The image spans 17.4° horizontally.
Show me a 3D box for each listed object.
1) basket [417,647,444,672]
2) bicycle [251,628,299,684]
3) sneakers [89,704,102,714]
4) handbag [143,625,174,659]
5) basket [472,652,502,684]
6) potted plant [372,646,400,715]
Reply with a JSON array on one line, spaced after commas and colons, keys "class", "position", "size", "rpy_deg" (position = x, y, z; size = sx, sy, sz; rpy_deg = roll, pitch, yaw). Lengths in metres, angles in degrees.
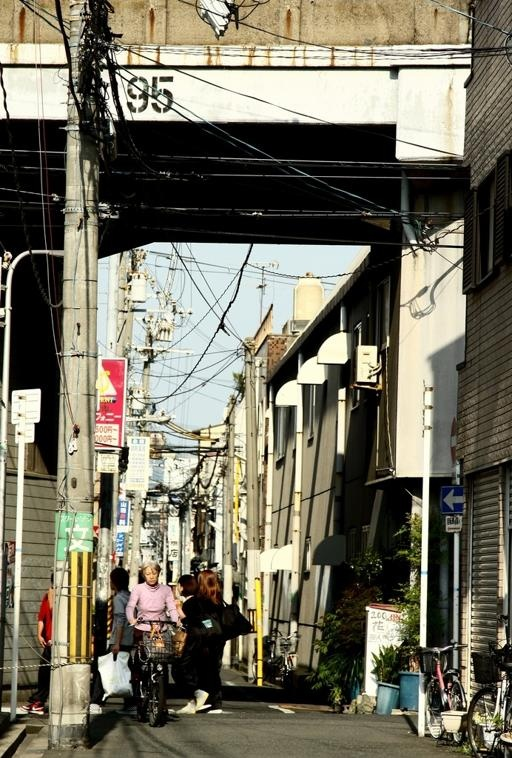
[{"class": "basket", "position": [2.043, 3.234, 19.209], "size": [0.271, 0.324, 0.256], "rpy_deg": [4, -17, -14]}, {"class": "bicycle", "position": [0.756, 6.370, 38.286], "size": [0.776, 1.247, 1.759], "rpy_deg": [6, -16, -15]}, {"class": "sneakers", "position": [-1.946, 4.005, 20.254], "size": [0.162, 0.147, 0.140], "rpy_deg": [2, -7, 6]}, {"class": "handbag", "position": [-1.102, 2.967, 18.896], "size": [0.225, 0.392, 0.385], "rpy_deg": [1, 3, 6]}, {"class": "basket", "position": [2.482, 3.048, 17.505], "size": [0.227, 0.464, 0.409], "rpy_deg": [6, -15, -21]}, {"class": "potted plant", "position": [1.858, 4.206, 23.504], "size": [0.395, 1.035, 1.307], "rpy_deg": [2, -13, 5]}]
